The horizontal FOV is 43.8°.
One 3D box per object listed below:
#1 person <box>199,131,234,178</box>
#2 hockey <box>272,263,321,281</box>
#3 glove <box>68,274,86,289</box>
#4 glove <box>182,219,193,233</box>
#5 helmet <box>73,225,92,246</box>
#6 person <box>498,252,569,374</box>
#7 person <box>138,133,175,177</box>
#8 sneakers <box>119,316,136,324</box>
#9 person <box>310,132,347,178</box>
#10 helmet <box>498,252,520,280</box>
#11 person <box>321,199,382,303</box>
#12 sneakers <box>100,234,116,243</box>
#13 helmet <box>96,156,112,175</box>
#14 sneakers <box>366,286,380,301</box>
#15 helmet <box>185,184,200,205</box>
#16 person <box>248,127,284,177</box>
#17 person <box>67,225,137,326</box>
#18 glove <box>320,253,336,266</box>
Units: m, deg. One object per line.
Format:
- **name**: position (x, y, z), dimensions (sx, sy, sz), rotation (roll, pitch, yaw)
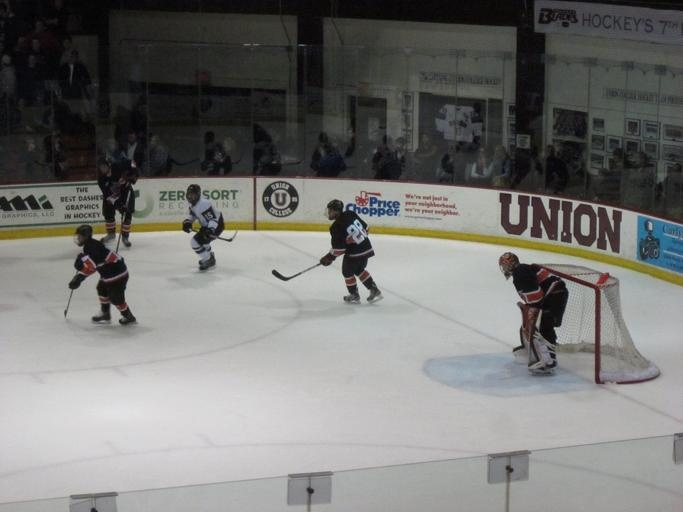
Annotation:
- **person**: position (-2.518, -2.102, 17.240), dimensions (0.601, 0.855, 0.488), rotation (1, 11, 14)
- **hockey**: position (-0.712, 0.263, 12.593), dimensions (0.427, 0.114, 0.423), rotation (-27, 16, -19)
- **glove**: position (-3.574, 0.346, 11.588), dimensions (0.141, 0.233, 0.093), rotation (37, 3, -8)
- **glove**: position (-2.483, -0.498, 13.823), dimensions (0.139, 0.206, 0.228), rotation (-3, 11, -9)
- **helmet**: position (-3.257, -0.270, 10.834), dimensions (0.262, 0.264, 0.226), rotation (0, 12, -21)
- **person**: position (2.195, 0.633, 9.667), dimensions (0.753, 1.314, 0.440), rotation (-1, 11, 4)
- **person**: position (-3.667, -1.963, 17.015), dimensions (0.790, 0.950, 0.548), rotation (-11, 14, -43)
- **sneakers**: position (-2.789, 0.825, 11.256), dimensions (0.249, 0.115, 0.092), rotation (3, 16, 3)
- **person**: position (-0.211, -2.019, 17.061), dimensions (0.712, 1.186, 0.654), rotation (2, 37, 13)
- **helmet**: position (2.049, 0.126, 10.404), dimensions (0.277, 0.273, 0.208), rotation (20, 29, -36)
- **person**: position (0.164, -0.054, 11.964), dimensions (0.763, 1.527, 0.862), rotation (1, 11, 13)
- **sneakers**: position (-4.188, -0.319, 15.363), dimensions (0.252, 0.242, 0.111), rotation (7, 26, -15)
- **helmet**: position (-4.057, -1.594, 14.773), dimensions (0.279, 0.359, 0.277), rotation (2, 33, -2)
- **sneakers**: position (0.474, 0.519, 12.136), dimensions (0.119, 0.228, 0.234), rotation (-12, 17, -12)
- **helmet**: position (-2.320, -1.008, 13.612), dimensions (0.258, 0.321, 0.323), rotation (2, 2, 3)
- **person**: position (-1.485, -2.177, 17.269), dimensions (0.552, 1.016, 0.351), rotation (-3, 11, -5)
- **person**: position (-3.362, 0.311, 11.993), dimensions (0.921, 1.459, 0.566), rotation (-11, 42, -20)
- **glove**: position (-0.175, 0.042, 11.754), dimensions (0.196, 0.156, 0.071), rotation (-36, -19, 11)
